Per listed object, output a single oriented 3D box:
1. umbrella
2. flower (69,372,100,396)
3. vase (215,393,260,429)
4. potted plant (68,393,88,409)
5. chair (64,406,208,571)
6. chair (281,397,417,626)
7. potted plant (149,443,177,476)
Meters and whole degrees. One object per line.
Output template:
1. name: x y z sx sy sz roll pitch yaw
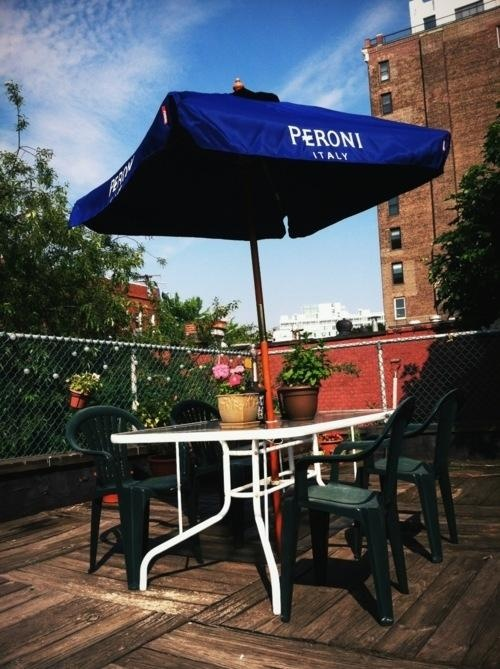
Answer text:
1. umbrella: -0.068 -0.119 3.485 1.987 2.527 2.002 0 -1 -42
2. flower: -1.448 0.446 4.928 0.210 0.124 0.209 1 -1 0
3. vase: -0.058 0.364 2.575 0.161 0.115 0.161 -10 -12 37
4. potted plant: -1.504 0.592 4.913 0.176 0.129 0.172 11 -10 -37
5. chair: -0.569 0.803 2.869 0.682 0.800 0.672 -2 -5 -7
6. chair: 0.374 0.701 2.252 0.512 0.791 0.531 5 -9 -43
7. potted plant: -0.795 1.108 4.983 0.383 0.279 0.380 1 -7 -12
